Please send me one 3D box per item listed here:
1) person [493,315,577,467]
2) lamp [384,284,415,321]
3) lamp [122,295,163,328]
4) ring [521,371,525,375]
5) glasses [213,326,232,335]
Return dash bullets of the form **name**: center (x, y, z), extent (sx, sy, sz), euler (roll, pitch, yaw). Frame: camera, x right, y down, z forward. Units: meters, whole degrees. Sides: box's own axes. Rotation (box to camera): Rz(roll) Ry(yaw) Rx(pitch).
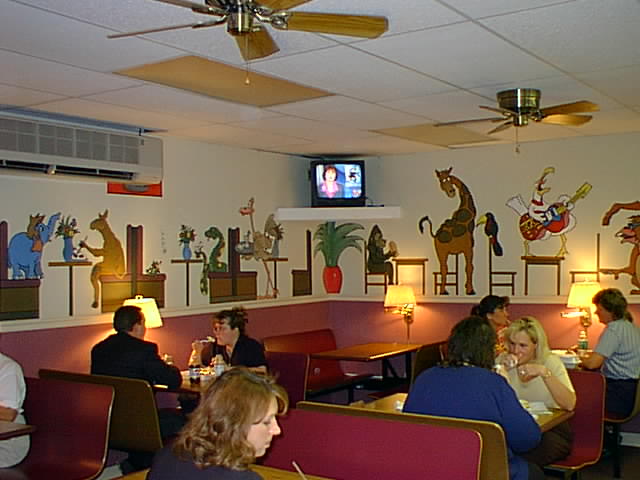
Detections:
- **person**: center (1.598, 1.135, 4.063), extent (0.734, 0.987, 0.661), euler (-2, -4, -43)
- **lamp**: center (1.113, 0.826, 7.414), extent (0.512, 0.709, 0.509), euler (1, -3, 4)
- **lamp**: center (-1.811, 0.730, 5.635), extent (0.375, 0.313, 0.371), euler (-1, 1, 3)
- **ring**: center (1.441, 0.948, 3.840), extent (0.007, 0.025, 0.027), euler (12, -6, -44)
- **glasses**: center (-0.938, 0.848, 5.094), extent (0.091, 0.059, 0.118), euler (-5, -7, 41)
